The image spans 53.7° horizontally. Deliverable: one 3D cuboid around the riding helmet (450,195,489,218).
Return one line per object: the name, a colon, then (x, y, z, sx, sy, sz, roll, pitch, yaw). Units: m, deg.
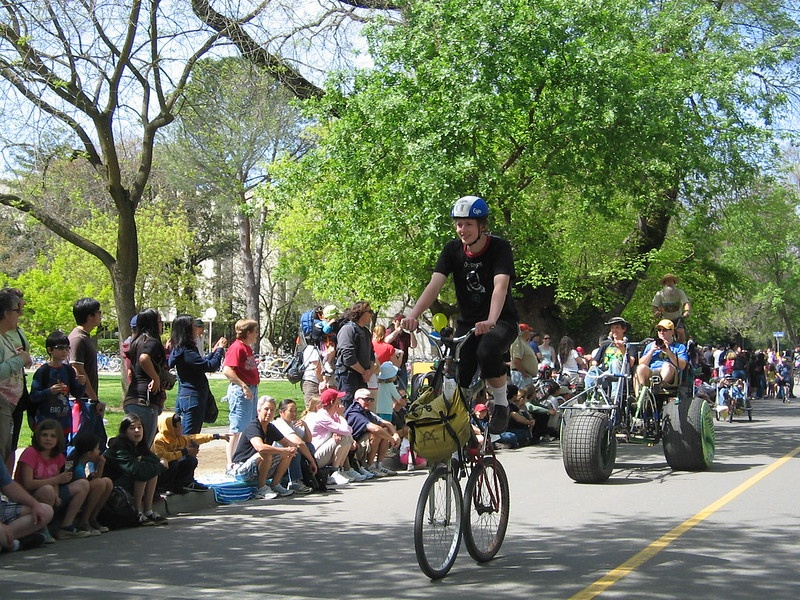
riding helmet: (0.646, -0.873, 7.357, 0.328, 0.231, 0.236, -2, -7, 2)

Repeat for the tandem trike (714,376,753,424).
tandem trike: (9.298, 3.021, 21.948, 0.813, 0.968, 1.518, 0, 5, 26)

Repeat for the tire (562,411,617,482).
tire: (2.772, 2.155, 11.577, 0.452, 0.936, 0.908, 3, 7, 22)

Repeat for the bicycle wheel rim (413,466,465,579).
bicycle wheel rim: (0.331, 2.002, 7.109, 0.260, 1.014, 0.813, -5, -8, 29)

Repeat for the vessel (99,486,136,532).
vessel: (-3.277, 2.403, 9.239, 0.257, 0.444, 0.437, -1, 6, 34)

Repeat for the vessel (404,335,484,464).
vessel: (0.387, 0.884, 7.247, 0.582, 1.194, 0.581, 2, -8, -32)
